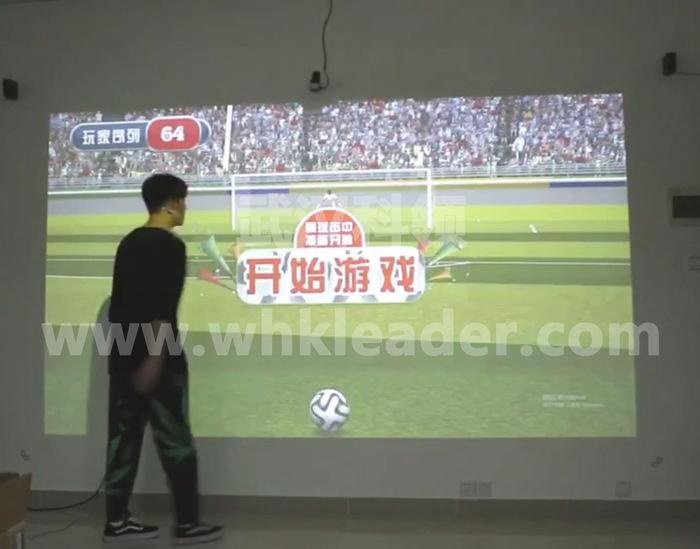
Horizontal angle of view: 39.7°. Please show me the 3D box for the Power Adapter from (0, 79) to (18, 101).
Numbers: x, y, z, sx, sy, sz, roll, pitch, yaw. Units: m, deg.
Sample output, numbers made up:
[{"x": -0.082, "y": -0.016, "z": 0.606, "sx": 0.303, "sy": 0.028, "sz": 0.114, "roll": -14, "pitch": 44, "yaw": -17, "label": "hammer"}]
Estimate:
[{"x": -2.139, "y": -1.177, "z": 6.140, "sx": 0.116, "sy": 0.120, "sz": 0.031, "roll": -2, "pitch": 4, "yaw": -41, "label": "Power Adapter"}]

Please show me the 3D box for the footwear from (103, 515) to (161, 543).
[{"x": -1.296, "y": 1.516, "z": 5.807, "sx": 0.319, "sy": 0.163, "sz": 0.133, "roll": 2, "pitch": -7, "yaw": -11, "label": "footwear"}]

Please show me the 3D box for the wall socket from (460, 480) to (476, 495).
[{"x": 0.714, "y": 1.299, "z": 5.909, "sx": 0.095, "sy": 0.091, "sz": 0.020, "roll": 0, "pitch": -3, "yaw": -8, "label": "wall socket"}]

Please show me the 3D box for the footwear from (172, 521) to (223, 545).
[{"x": -0.892, "y": 1.507, "z": 5.690, "sx": 0.284, "sy": 0.123, "sz": 0.110, "roll": 0, "pitch": -9, "yaw": -11, "label": "footwear"}]

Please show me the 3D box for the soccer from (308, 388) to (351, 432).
[{"x": -0.139, "y": 0.861, "z": 6.048, "sx": 0.246, "sy": 0.261, "sz": 0.242, "roll": 11, "pitch": -13, "yaw": -13, "label": "soccer"}]

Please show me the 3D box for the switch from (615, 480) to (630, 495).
[{"x": 1.646, "y": 1.286, "z": 5.873, "sx": 0.087, "sy": 0.090, "sz": 0.022, "roll": 0, "pitch": 1, "yaw": 4, "label": "switch"}]

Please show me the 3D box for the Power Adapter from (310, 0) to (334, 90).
[{"x": -0.181, "y": -1.427, "z": 6.017, "sx": 0.157, "sy": 0.582, "sz": 0.077, "roll": 0, "pitch": -3, "yaw": -2, "label": "Power Adapter"}]
